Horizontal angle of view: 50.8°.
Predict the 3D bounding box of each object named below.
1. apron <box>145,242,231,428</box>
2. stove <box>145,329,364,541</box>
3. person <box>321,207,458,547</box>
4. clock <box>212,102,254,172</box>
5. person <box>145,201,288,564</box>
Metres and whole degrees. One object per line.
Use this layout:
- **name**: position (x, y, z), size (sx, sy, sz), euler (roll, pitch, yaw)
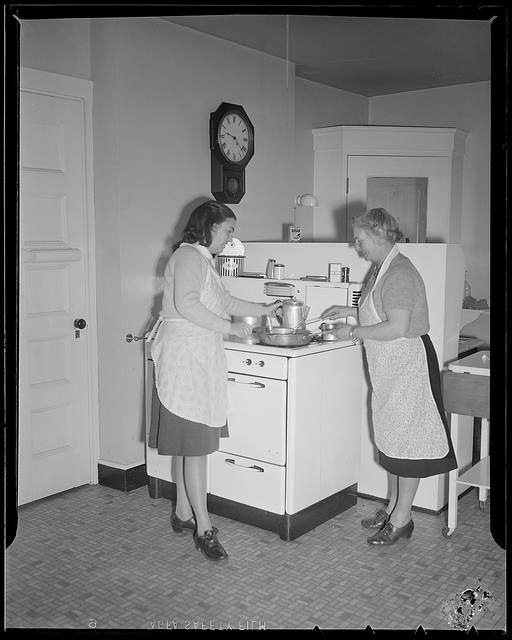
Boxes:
- **apron**: position (-0.254, 0.042, 2.124), size (0.287, 0.712, 0.302), euler (-2, 14, -29)
- **stove**: position (0.040, 0.456, 2.664), size (0.867, 1.062, 0.777), euler (4, 5, 40)
- **person**: position (0.561, 0.239, 2.201), size (0.362, 1.122, 0.377), euler (0, 0, -44)
- **clock**: position (-0.147, -1.100, 3.232), size (0.046, 0.473, 0.453), euler (2, 0, 28)
- **person**: position (-0.195, 0.235, 2.284), size (0.505, 1.345, 0.639), euler (0, 0, 1)
